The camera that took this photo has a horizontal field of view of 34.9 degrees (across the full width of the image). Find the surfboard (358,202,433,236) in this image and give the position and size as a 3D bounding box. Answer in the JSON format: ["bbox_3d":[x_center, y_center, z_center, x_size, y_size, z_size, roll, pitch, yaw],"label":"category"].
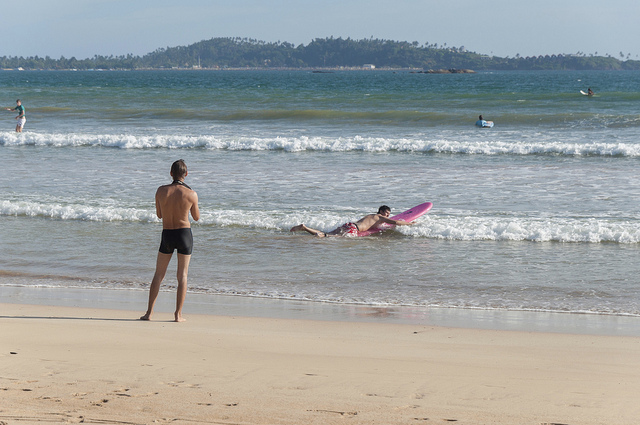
[{"bbox_3d":[1.924,0.106,23.442,0.608,0.243,2.676,25,28,38],"label":"surfboard"}]

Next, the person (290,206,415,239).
[{"bbox_3d":[0.807,0.324,22.808,3.153,0.567,0.627,-10,12,-12],"label":"person"}]

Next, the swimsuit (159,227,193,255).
[{"bbox_3d":[-2.580,0.564,18.277,0.673,0.429,0.391,2,8,7],"label":"swimsuit"}]

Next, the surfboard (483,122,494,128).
[{"bbox_3d":[6.339,-3.311,38.516,0.267,0.110,0.375,4,5,22],"label":"surfboard"}]

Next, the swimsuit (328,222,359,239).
[{"bbox_3d":[0.575,0.418,22.568,0.521,0.168,0.341,-2,14,-7],"label":"swimsuit"}]

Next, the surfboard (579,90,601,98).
[{"bbox_3d":[13.723,-5.912,51.606,0.949,0.476,2.700,2,0,15],"label":"surfboard"}]
